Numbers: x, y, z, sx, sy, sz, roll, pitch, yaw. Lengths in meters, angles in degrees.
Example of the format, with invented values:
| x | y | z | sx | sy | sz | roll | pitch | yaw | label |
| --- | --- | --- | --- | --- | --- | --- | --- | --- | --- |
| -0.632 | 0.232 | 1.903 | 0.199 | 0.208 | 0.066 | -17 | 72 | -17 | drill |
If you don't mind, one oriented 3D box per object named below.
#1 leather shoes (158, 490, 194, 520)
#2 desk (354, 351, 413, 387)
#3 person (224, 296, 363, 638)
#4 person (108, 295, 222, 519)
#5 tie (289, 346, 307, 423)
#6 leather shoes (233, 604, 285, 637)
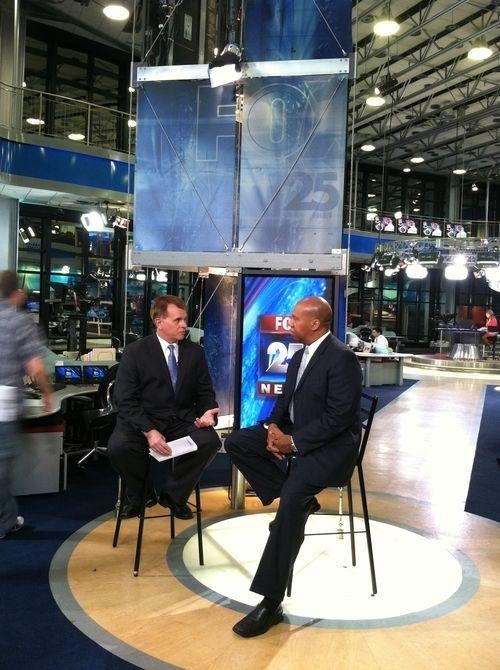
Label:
| x | y | z | sx | sy | sz | roll | pitch | yaw | label |
| --- | --- | --- | --- | --- | --- | --- | --- | --- | --- |
| -0.373 | 0.850 | 2.865 | 0.162 | 0.198 | 0.170 | 0 | 6 | 0 | leather shoes |
| 2.358 | 0.590 | 10.057 | 0.936 | 0.430 | 0.677 | -1 | 7 | -14 | desk |
| 0.201 | 0.474 | 2.386 | 0.601 | 1.244 | 0.702 | -1 | 6 | -3 | person |
| -0.439 | 0.374 | 2.888 | 0.562 | 1.125 | 0.655 | 4 | 8 | 34 | person |
| 0.227 | 0.223 | 2.568 | 0.028 | 0.369 | 0.064 | 39 | -47 | -25 | tie |
| 0.041 | 1.062 | 2.186 | 0.081 | 0.082 | 0.211 | 2 | -4 | 38 | leather shoes |
